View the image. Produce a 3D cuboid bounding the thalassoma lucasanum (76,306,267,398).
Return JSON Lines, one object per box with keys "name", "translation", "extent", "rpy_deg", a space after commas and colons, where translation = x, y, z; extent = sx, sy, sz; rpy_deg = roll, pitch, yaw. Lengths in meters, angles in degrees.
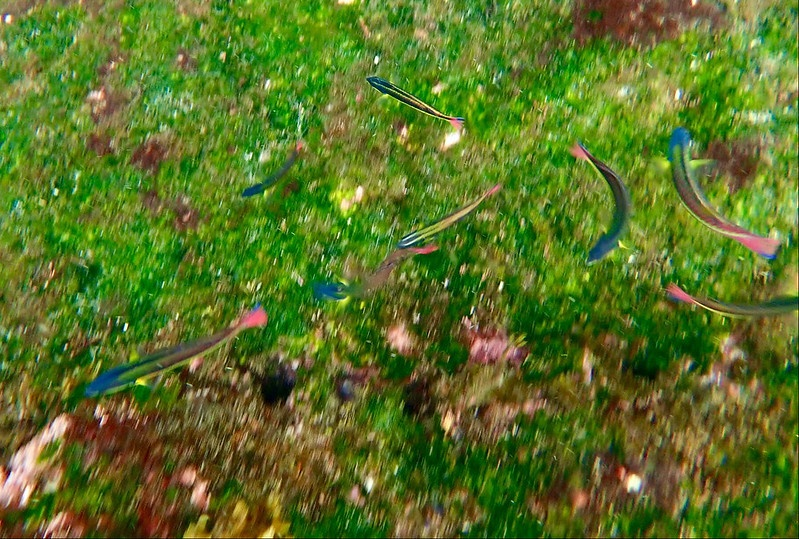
{"name": "thalassoma lucasanum", "translation": [-2.522, 0.963, 9.348], "extent": [1.180, 0.332, 0.305], "rpy_deg": [-28, 49, -10]}
